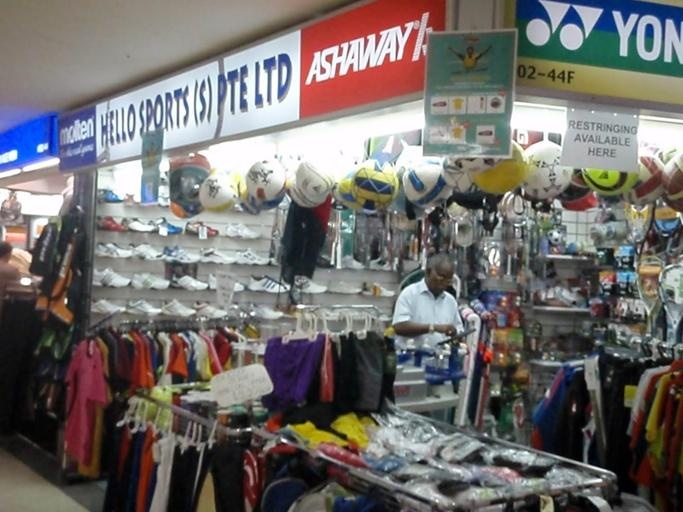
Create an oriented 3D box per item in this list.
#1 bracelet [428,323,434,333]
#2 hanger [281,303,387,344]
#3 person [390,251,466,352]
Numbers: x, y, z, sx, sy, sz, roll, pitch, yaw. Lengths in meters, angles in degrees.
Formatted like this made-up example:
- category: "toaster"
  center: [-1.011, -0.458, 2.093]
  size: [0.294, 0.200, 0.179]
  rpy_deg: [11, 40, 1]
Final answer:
- category: "bracelet"
  center: [0.718, 0.579, 4.599]
  size: [0.052, 0.095, 0.050]
  rpy_deg: [-1, -1, 3]
- category: "hanger"
  center: [-0.079, 0.506, 4.342]
  size: [0.639, 0.257, 0.472]
  rpy_deg: [3, -6, -23]
- category: "person"
  center: [0.754, 0.365, 5.010]
  size: [0.573, 0.784, 0.871]
  rpy_deg: [2, -2, 13]
